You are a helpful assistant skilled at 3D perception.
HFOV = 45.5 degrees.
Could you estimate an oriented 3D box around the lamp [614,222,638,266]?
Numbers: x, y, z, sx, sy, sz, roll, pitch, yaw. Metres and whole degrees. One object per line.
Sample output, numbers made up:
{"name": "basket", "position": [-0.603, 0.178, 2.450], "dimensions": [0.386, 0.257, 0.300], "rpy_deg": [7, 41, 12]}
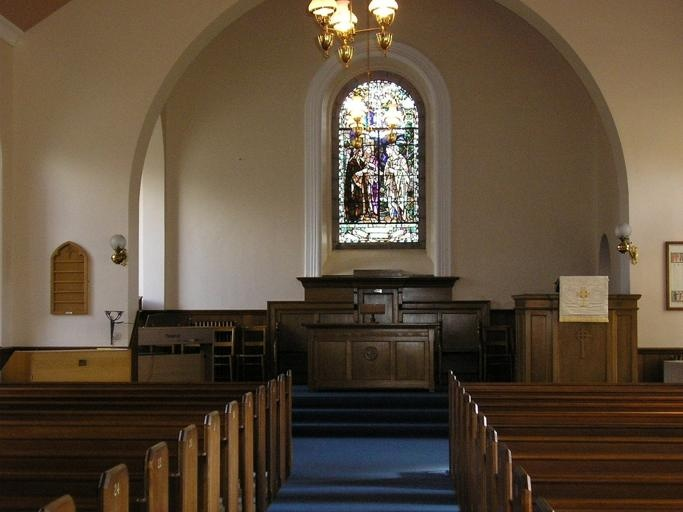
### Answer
{"name": "lamp", "position": [4.123, -0.179, 11.700], "dimensions": [0.280, 0.567, 0.728], "rpy_deg": [-3, -4, 21]}

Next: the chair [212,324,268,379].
{"name": "chair", "position": [-1.815, 1.774, 14.785], "dimensions": [1.095, 1.661, 0.845], "rpy_deg": [1, -8, -7]}

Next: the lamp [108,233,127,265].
{"name": "lamp", "position": [-3.207, -0.105, 11.828], "dimensions": [0.231, 0.411, 0.296], "rpy_deg": [-1, -3, -16]}

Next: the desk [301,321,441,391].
{"name": "desk", "position": [0.465, 1.381, 12.600], "dimensions": [1.957, 1.188, 0.834], "rpy_deg": [-1, 21, -1]}
